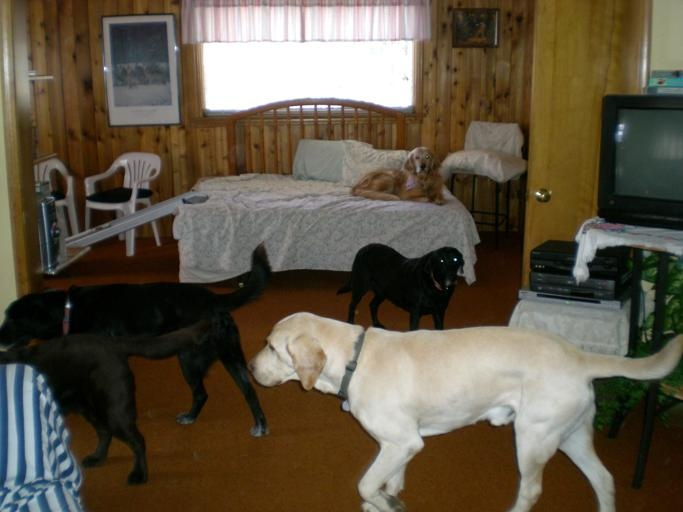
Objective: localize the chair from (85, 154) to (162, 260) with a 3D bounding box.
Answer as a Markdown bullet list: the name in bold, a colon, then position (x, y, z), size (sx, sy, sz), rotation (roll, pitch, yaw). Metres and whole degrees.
- **chair**: position (-2.224, -0.549, 6.054), size (0.671, 0.977, 0.695), rotation (-1, 11, -9)

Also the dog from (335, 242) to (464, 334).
- **dog**: position (0.379, 0.237, 3.754), size (0.293, 0.701, 0.983), rotation (-14, 20, -40)

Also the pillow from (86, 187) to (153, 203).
- **pillow**: position (-2.198, -0.609, 5.863), size (0.278, 0.076, 0.299), rotation (8, 19, 27)

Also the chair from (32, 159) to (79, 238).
- **chair**: position (-2.818, -0.608, 5.915), size (0.342, 0.845, 0.932), rotation (-9, 17, -26)

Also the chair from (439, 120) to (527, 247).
- **chair**: position (1.281, -0.802, 6.210), size (0.998, 1.508, 1.108), rotation (7, 16, 29)

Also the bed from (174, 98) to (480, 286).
- **bed**: position (-0.316, -0.434, 5.679), size (2.075, 1.392, 2.227), rotation (0, 22, -2)

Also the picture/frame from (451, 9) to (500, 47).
- **picture/frame**: position (1.427, -2.435, 6.230), size (0.340, 0.330, 0.028), rotation (0, 15, 4)

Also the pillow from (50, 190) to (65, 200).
- **pillow**: position (-2.774, -0.611, 5.832), size (0.118, 0.075, 0.587), rotation (-9, 18, -23)
